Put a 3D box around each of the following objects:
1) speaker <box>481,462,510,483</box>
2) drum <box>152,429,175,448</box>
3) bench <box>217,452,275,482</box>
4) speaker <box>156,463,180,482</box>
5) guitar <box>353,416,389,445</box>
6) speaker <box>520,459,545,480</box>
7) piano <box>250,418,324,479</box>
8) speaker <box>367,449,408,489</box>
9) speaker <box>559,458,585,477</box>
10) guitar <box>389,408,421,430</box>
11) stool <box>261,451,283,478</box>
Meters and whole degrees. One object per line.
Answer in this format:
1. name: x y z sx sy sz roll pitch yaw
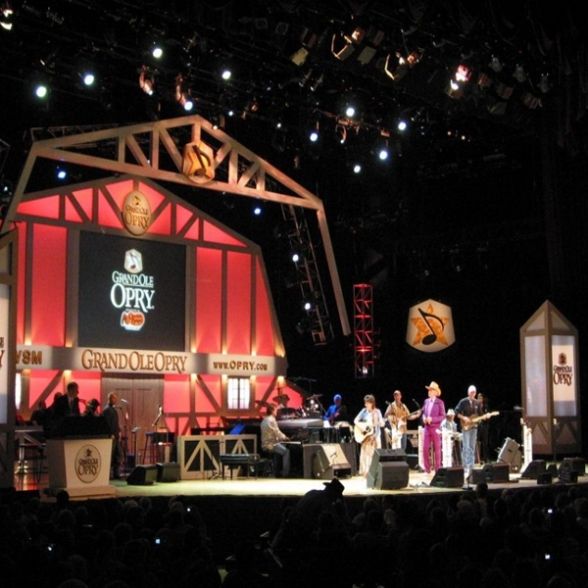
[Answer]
1. speaker: 3.172 2.803 12.492 0.297 0.343 0.316 2 -8 -29
2. drum: -2.783 3.067 16.815 0.502 0.271 0.978 1 -12 -10
3. bench: -0.857 3.178 14.694 0.945 0.452 2.192 -1 -11 -3
4. speaker: -2.231 3.132 13.957 0.399 0.403 0.294 6 4 -45
5. guitar: 1.320 2.463 14.067 0.548 0.510 0.341 0 -10 -7
6. speaker: 4.017 2.960 13.300 0.414 0.330 0.228 7 -8 -44
7. piano: -0.118 2.880 14.949 0.874 1.155 0.761 -6 -9 30
8. speaker: 1.388 2.587 11.785 0.479 0.574 0.538 4 -24 -17
9. speaker: 4.529 2.841 12.964 0.188 0.420 0.385 0 -1 -31
10. guitar: 2.036 2.318 14.802 0.618 0.382 0.112 -19 3 5
11. stool: -0.419 3.230 15.058 0.374 0.522 0.433 1 -5 -15
